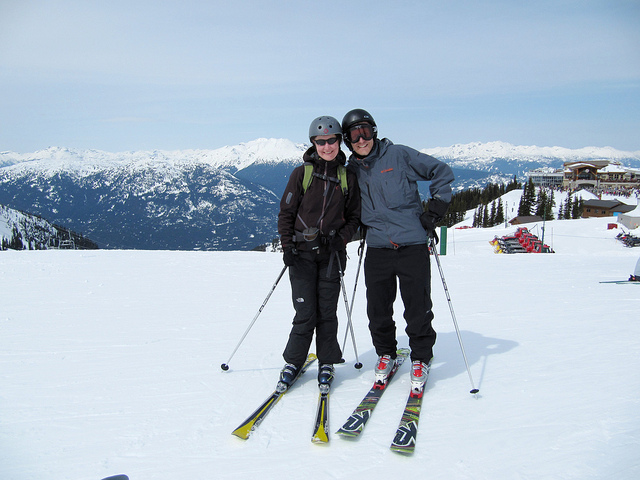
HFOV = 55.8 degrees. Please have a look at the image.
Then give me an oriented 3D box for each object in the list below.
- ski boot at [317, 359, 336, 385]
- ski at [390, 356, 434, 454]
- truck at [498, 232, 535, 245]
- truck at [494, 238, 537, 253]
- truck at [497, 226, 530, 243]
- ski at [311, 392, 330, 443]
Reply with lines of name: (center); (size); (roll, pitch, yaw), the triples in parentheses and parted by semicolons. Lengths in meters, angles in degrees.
ski boot: (0.091, 1.885, 8.554); (0.234, 0.341, 0.569); (-1, 8, 0)
ski: (1.205, 2.194, 7.938); (0.257, 0.111, 2.323); (5, 20, 14)
truck: (13.157, -0.053, 40.058); (1.693, 0.445, 1.194); (-4, 9, 3)
truck: (12.435, 0.306, 38.803); (2.536, 0.594, 1.748); (0, 9, 5)
truck: (13.281, -0.193, 41.494); (1.993, 0.882, 1.323); (-2, 8, 4)
ski: (0.032, 2.175, 7.653); (0.208, 1.537, 0.159); (5, 51, 2)
